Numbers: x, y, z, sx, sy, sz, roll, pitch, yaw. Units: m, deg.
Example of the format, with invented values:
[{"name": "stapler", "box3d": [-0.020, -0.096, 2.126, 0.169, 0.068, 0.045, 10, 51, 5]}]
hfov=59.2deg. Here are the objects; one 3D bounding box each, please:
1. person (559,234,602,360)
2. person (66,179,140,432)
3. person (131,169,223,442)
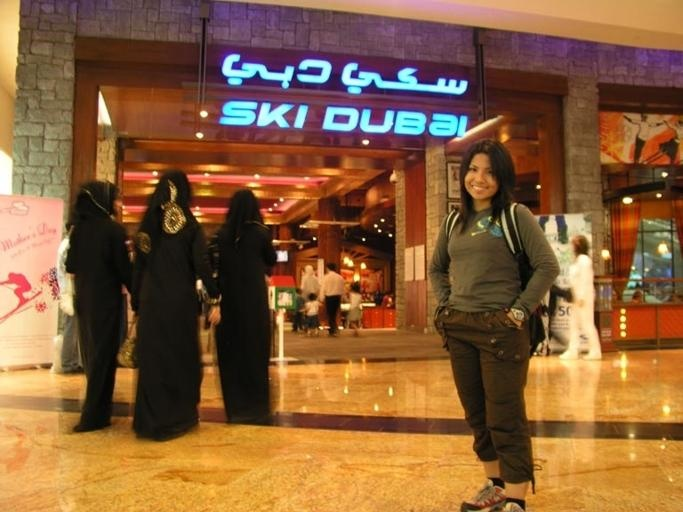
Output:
[{"name": "person", "box3d": [3.298, 0.546, 8.246, 0.500, 1.670, 0.489, 0, 0, 16]}, {"name": "person", "box3d": [-1.846, 0.340, 4.578, 0.467, 1.861, 0.474, 0, 0, -21]}, {"name": "person", "box3d": [-1.205, 0.313, 4.399, 0.615, 1.924, 0.378, 0, 0, -20]}]
